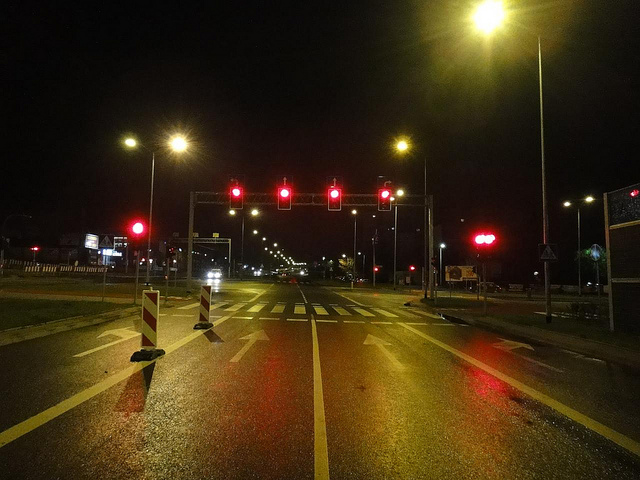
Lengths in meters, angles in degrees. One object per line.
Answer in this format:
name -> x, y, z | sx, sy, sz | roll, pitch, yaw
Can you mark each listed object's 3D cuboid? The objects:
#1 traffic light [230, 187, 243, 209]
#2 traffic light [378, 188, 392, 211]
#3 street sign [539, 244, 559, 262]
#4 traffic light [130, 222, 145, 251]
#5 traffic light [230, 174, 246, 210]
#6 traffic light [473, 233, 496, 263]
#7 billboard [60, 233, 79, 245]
traffic light -> -4.201, -2.076, 26.234 | 0.613, 0.984, 0.350 | 0, -5, 2
traffic light -> 3.252, -2.029, 26.696 | 0.550, 1.085, 0.576 | 0, -6, 2
street sign -> 9.154, 0.540, 21.255 | 0.700, 0.777, 0.076 | 1, 5, -5
traffic light -> -8.397, -0.113, 24.153 | 0.584, 1.383, 1.064 | 1, -6, -16
traffic light -> -4.165, -2.308, 26.420 | 0.694, 1.540, 0.714 | 0, -6, -3
traffic light -> 7.963, 0.405, 25.297 | 1.083, 2.201, 1.155 | 0, 0, 4
billboard -> -57.662, 0.094, 121.724 | 5.197, 2.523, 1.221 | -3, -6, 19
